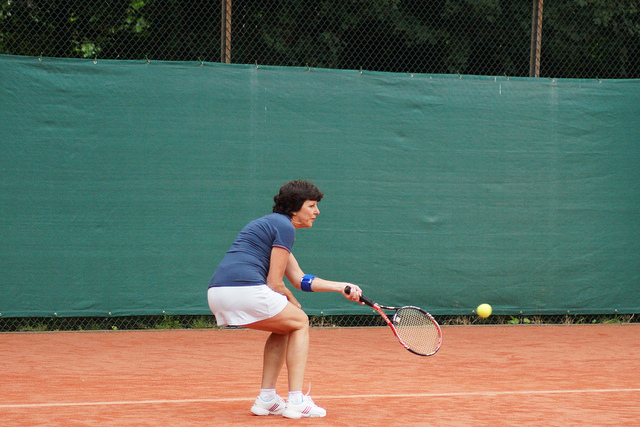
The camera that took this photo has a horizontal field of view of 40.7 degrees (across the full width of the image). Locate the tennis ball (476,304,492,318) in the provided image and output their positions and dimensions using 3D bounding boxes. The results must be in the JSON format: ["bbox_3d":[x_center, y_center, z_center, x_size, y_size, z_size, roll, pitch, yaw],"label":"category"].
[{"bbox_3d":[1.793,1.053,9.334,0.122,0.138,0.202,3,9,16],"label":"tennis ball"}]

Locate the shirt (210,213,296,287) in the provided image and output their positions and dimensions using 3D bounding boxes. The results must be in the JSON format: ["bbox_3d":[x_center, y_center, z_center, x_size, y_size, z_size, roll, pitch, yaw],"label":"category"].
[{"bbox_3d":[-0.604,0.340,7.773,0.510,0.746,0.730,31,-13,-14],"label":"shirt"}]
